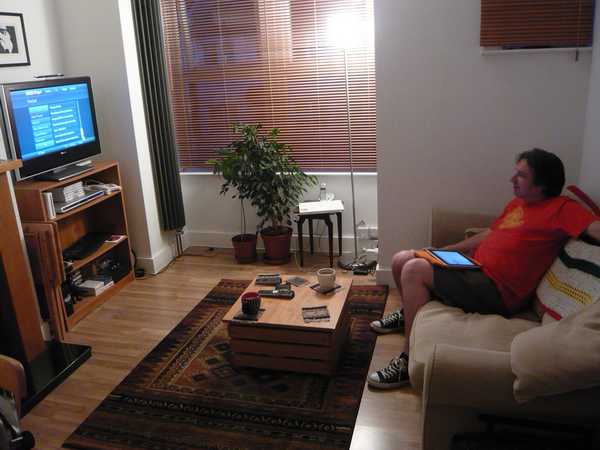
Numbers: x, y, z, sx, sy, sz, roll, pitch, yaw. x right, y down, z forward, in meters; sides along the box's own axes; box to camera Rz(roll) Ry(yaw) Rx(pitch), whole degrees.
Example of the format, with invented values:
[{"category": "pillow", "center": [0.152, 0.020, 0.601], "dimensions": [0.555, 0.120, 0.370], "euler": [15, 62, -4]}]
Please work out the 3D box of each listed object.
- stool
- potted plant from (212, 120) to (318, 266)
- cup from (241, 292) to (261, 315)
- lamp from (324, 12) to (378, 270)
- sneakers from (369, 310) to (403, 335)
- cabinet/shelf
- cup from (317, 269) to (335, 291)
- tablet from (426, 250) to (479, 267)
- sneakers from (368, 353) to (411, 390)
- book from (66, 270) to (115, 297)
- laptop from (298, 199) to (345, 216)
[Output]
[{"category": "stool", "center": [0.144, 0.105, 4.727], "dimensions": [0.546, 0.532, 0.575], "euler": [3, 7, 23]}, {"category": "potted plant", "center": [-0.354, -0.341, 4.787], "dimensions": [0.973, 1.401, 0.694], "euler": [-3, 20, 1]}, {"category": "cup", "center": [-0.338, 0.546, 3.193], "dimensions": [0.125, 0.114, 0.135], "euler": [1, 3, 0]}, {"category": "lamp", "center": [0.500, -0.812, 4.546], "dimensions": [0.369, 2.398, 0.804], "euler": [-2, 20, 4]}, {"category": "sneakers", "center": [0.683, 0.763, 3.611], "dimensions": [0.310, 0.148, 0.123], "euler": [3, 15, 2]}, {"category": "cabinet/shelf", "center": [-1.951, 0.201, 3.902], "dimensions": [0.376, 1.100, 1.175], "euler": [1, 21, 8]}, {"category": "cup", "center": [0.202, 0.398, 3.446], "dimensions": [0.145, 0.165, 0.146], "euler": [-1, 20, 0]}, {"category": "tablet", "center": [1.031, 0.229, 3.119], "dimensions": [0.214, 0.024, 0.290], "euler": [-3, 19, -28]}, {"category": "sneakers", "center": [0.534, 0.976, 3.059], "dimensions": [0.374, 0.188, 0.139], "euler": [0, 14, 4]}, {"category": "book", "center": [-1.928, 0.543, 4.193], "dimensions": [0.242, 0.057, 0.227], "euler": [8, 14, 26]}, {"category": "laptop", "center": [0.191, -0.181, 4.637], "dimensions": [0.438, 0.071, 0.370], "euler": [-6, 20, -6]}]
